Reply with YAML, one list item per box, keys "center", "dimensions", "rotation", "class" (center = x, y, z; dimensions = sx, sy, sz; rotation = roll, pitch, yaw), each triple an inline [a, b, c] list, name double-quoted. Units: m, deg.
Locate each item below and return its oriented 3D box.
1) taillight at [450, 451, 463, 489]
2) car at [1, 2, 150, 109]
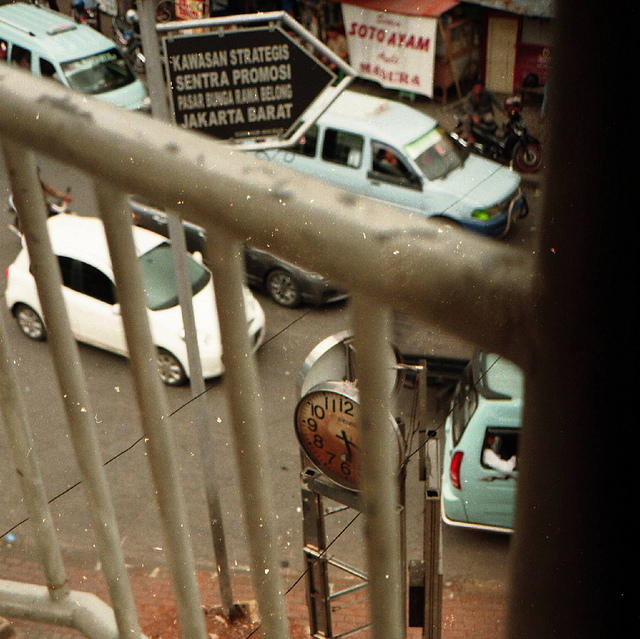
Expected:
- center: [0.694, 0.767, 5.951]
  dimensions: [0.041, 0.160, 0.098]
  rotation: [0, 11, 0]
  class: "taillight"
- center: [-2.685, -2.726, 12.339]
  dimensions: [2.014, 0.731, 1.146]
  rotation: [24, 36, 34]
  class: "car"
